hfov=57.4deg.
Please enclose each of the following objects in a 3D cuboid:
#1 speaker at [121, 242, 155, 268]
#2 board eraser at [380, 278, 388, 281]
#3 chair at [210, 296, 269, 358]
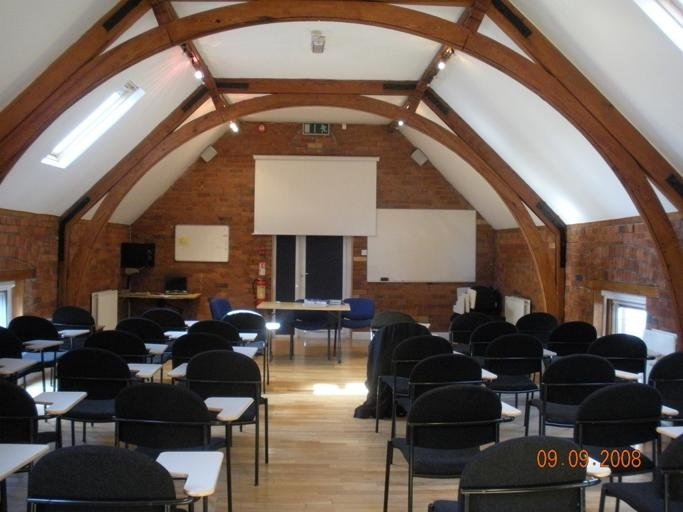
[{"bbox_3d":[-3.752,-0.022,11.507,0.774,0.559,0.420,1,3,-9],"label":"speaker"},{"bbox_3d":[0.836,0.452,12.001,0.168,0.094,0.019,0,5,-8],"label":"board eraser"},{"bbox_3d":[-1.422,0.927,8.603,0.797,0.853,0.687,-1,-9,1],"label":"chair"}]
